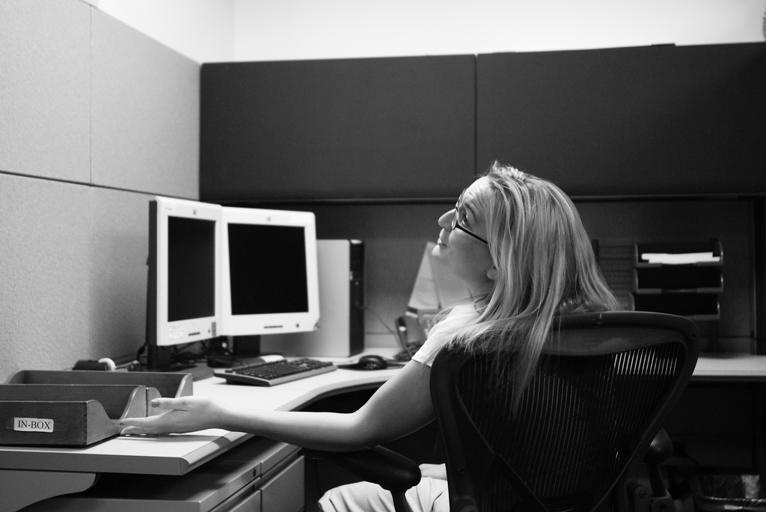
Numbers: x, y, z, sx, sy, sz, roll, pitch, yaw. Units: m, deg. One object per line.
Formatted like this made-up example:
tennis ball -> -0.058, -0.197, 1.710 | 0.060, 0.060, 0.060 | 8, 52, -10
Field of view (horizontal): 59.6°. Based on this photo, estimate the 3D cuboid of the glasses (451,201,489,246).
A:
glasses -> 0.211, -0.086, 1.783 | 0.106, 0.030, 0.101 | 22, 12, -11

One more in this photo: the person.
person -> 0.129, 0.284, 2.463 | 1.268, 1.567, 0.971 | 3, -2, 15
